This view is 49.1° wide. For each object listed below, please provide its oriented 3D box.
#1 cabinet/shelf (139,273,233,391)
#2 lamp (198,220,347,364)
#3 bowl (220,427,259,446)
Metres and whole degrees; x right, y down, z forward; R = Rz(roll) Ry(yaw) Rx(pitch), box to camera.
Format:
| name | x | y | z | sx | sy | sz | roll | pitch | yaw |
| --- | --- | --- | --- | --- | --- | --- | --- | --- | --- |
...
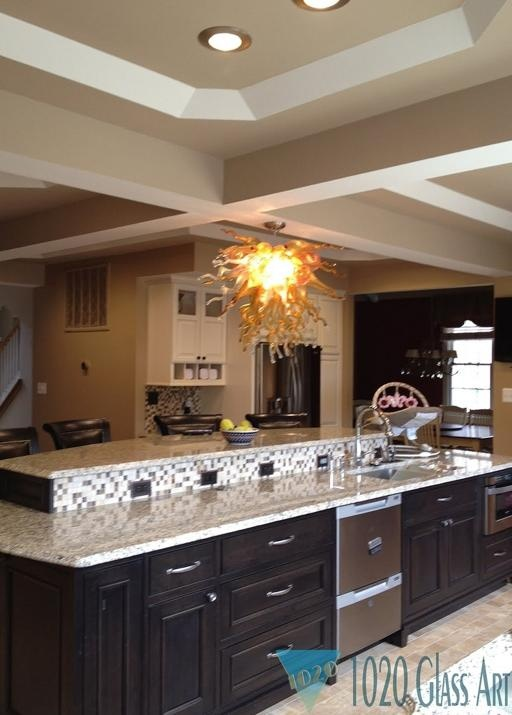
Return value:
| name | x | y | z | sx | sy | sz | roll | pitch | yaw |
| --- | --- | --- | --- | --- | --- | --- | --- | --- | --- |
| cabinet/shelf | -0.807 | -0.305 | 6.032 | 0.568 | 1.553 | 1.252 | -6 | -7 | 42 |
| lamp | 0.096 | -0.536 | 3.538 | 0.828 | 0.313 | 0.812 | 16 | -15 | 7 |
| bowl | -0.099 | 0.462 | 3.271 | 0.188 | 0.093 | 0.205 | 2 | 1 | 0 |
